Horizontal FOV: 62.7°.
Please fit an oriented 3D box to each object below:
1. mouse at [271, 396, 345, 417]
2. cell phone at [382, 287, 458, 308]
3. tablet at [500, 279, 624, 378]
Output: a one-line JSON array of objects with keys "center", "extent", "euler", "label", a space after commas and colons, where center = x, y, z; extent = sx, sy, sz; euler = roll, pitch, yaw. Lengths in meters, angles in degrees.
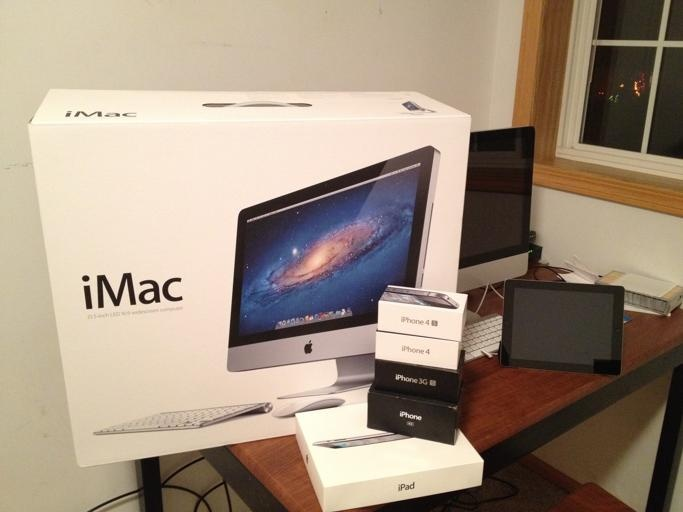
[{"center": [-0.080, 0.352, 1.303], "extent": [0.117, 0.029, 0.061], "euler": [-4, 1, -19], "label": "mouse"}, {"center": [0.173, 0.088, 1.206], "extent": [0.107, 0.022, 0.059], "euler": [9, 20, 14], "label": "cell phone"}, {"center": [0.620, 0.193, 1.544], "extent": [0.349, 0.255, 0.078], "euler": [3, -2, 5], "label": "tablet"}]
